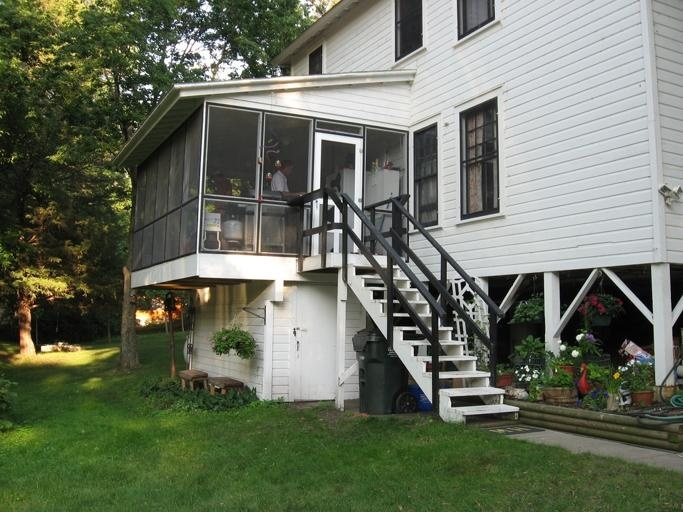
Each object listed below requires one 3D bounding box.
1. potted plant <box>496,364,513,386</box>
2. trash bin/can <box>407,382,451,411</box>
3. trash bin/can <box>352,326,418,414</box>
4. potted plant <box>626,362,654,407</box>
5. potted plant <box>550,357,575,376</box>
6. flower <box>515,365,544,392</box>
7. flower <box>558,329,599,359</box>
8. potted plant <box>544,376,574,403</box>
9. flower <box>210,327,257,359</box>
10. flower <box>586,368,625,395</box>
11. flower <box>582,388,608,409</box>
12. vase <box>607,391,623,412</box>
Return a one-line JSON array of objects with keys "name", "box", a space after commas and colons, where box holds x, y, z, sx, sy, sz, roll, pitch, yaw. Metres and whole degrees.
[{"name": "potted plant", "box": [3.055, 2.224, 11.586, 0.300, 0.347, 0.686, -3, 4, 15]}, {"name": "trash bin/can", "box": [1.597, 2.727, 11.883, 0.496, 0.631, 0.706, 1, -5, 6]}, {"name": "trash bin/can", "box": [0.782, 2.161, 11.409, 1.013, 1.495, 0.485, -4, 3, -1]}, {"name": "potted plant", "box": [4.893, 2.090, 10.140, 0.464, 0.699, 0.485, -6, -5, -1]}, {"name": "potted plant", "box": [3.856, 1.929, 10.869, 0.285, 0.233, 0.287, 8, -14, -30]}, {"name": "flower", "box": [3.353, 2.167, 11.119, 0.385, 0.434, 0.415, 1, -2, -7]}, {"name": "flower", "box": [4.160, 1.591, 11.025, 0.574, 0.470, 0.563, -1, -1, -15]}, {"name": "potted plant", "box": [3.727, 2.290, 10.622, 0.385, 0.262, 0.417, -1, -4, 6]}, {"name": "flower", "box": [-2.298, 1.796, 13.156, 0.722, 0.562, 0.743, 6, 0, -27]}, {"name": "flower", "box": [4.386, 2.037, 10.238, 0.365, 0.390, 0.416, 5, -7, -10]}, {"name": "flower", "box": [4.169, 2.327, 10.161, 0.282, 0.240, 0.288, -8, -3, 39]}, {"name": "vase", "box": [4.305, 2.295, 9.830, 0.235, 0.368, 0.218, -1, -18, 14]}]
